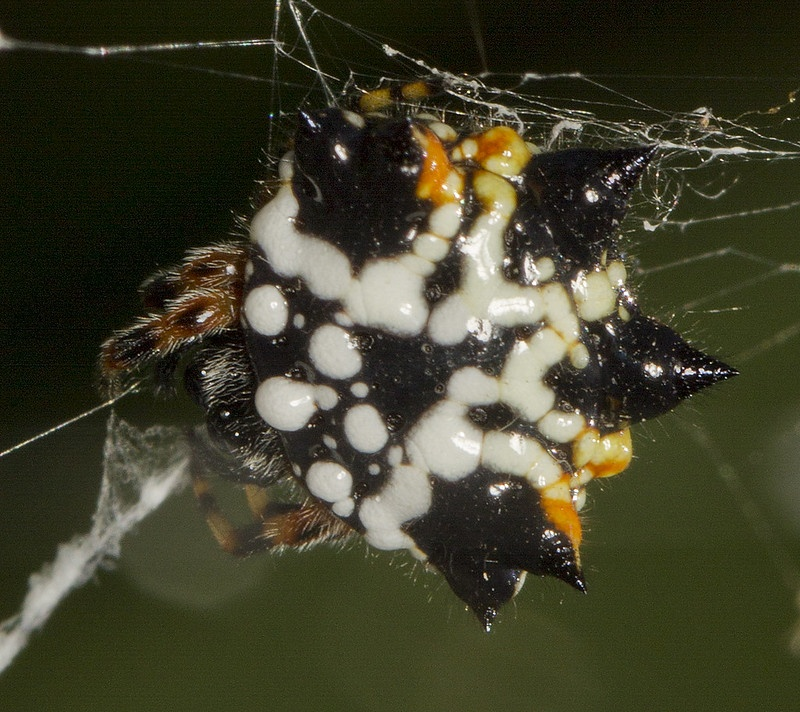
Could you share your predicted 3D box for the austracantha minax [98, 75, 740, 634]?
[{"bbox_3d":[-0.006,-0.008,1.073,0.544,0.508,0.484,5,9,8],"label":"austracantha minax"}]
